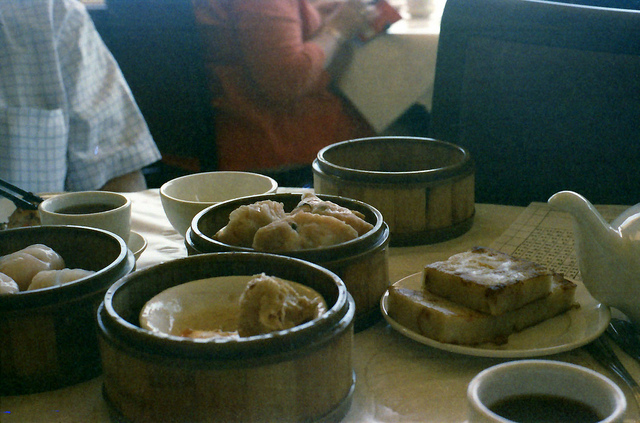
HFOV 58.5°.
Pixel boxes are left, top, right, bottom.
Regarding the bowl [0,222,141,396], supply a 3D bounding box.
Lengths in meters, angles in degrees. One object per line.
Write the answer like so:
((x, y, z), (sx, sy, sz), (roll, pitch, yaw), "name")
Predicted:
((-0.472, 0.161, 1.109), (0.263, 0.123, 0.296), (-1, 13, -6), "bowl")

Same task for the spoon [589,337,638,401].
((0.518, 0.270, 1.004), (0.028, 0.008, 0.089), (-16, 37, -10), "spoon")

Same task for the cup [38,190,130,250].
((-0.522, -0.003, 1.300), (0.175, 0.130, 0.173), (1, 13, 0), "cup")

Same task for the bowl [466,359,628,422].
((0.330, 0.279, 0.849), (0.220, 0.068, 0.122), (5, 27, 11), "bowl")

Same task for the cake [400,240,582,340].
((0.332, 0.148, 1.110), (0.267, 0.068, 0.192), (-13, 19, -31), "cake")

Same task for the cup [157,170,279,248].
((-0.287, -0.047, 1.416), (0.235, 0.116, 0.228), (0, 15, 0), "cup")

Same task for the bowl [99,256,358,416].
((-0.136, 0.195, 0.899), (0.318, 0.121, 0.305), (0, 10, 0), "bowl")

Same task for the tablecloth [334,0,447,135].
((0.361, -0.757, 2.893), (0.653, 0.471, 0.447), (-30, 27, -11), "tablecloth")

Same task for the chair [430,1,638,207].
((0.717, -0.409, 2.100), (0.650, 0.781, 0.665), (4, 17, 11), "chair")

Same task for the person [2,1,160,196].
((-1.074, -0.501, 2.512), (0.912, 0.802, 0.321), (-12, 12, -35), "person")

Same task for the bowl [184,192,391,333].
((-0.022, 0.124, 1.201), (0.312, 0.160, 0.309), (3, 5, 0), "bowl")

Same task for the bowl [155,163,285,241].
((-0.282, -0.027, 1.476), (0.303, 0.150, 0.294), (-1, 15, 0), "bowl")
